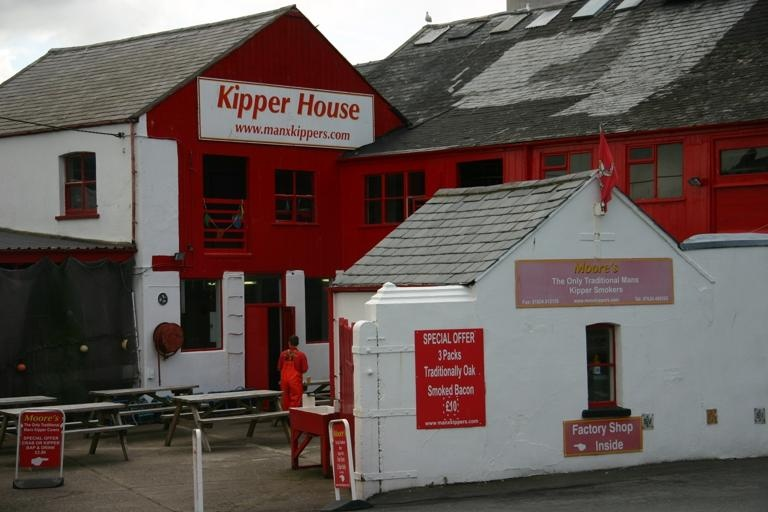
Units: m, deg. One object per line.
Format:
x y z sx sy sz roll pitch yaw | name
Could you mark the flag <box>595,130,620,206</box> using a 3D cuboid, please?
5.122 -1.925 34.761 0.418 1.849 0.527 0 -7 3 | flag
